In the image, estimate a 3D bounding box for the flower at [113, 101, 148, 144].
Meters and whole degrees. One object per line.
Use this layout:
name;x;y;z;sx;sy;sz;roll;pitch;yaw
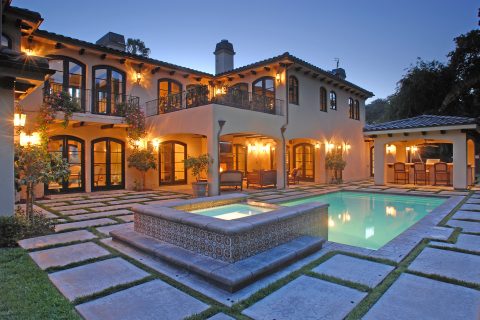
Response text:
flower;-5.262;-1.876;15.870;0.792;1.673;1.509;-2;-1;34

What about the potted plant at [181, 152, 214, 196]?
potted plant;-1.907;0.669;14.266;1.022;1.917;1.465;-7;5;-35

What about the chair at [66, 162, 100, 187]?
chair;-7.292;0.681;14.956;1.054;1.564;1.161;2;-4;-22

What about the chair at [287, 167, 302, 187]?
chair;3.289;0.984;19.137;1.002;1.355;0.949;-1;1;-41

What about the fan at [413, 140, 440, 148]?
fan;12.314;-1.085;21.610;1.390;0.533;1.444;-1;1;7

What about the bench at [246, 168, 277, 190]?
bench;1.156;0.994;17.117;1.497;0.836;1.163;-3;-2;36

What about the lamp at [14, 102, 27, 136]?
lamp;-6.434;-1.297;9.483;0.253;1.107;1.699;-2;-1;-33
